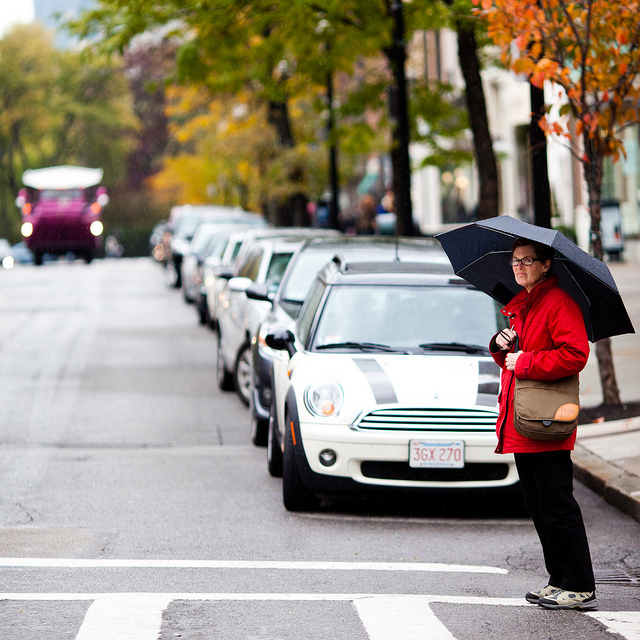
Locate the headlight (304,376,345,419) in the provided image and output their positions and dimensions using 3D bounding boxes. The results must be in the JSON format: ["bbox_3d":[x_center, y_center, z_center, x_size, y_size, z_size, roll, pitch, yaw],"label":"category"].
[{"bbox_3d":[0.022,0.495,7.491,0.247,0.235,0.214,0,3,-3],"label":"headlight"}]

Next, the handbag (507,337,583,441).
[{"bbox_3d":[1.095,0.368,5.668,0.304,0.539,0.285,3,-26,11],"label":"handbag"}]

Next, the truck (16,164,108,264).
[{"bbox_3d":[-7.955,-3.010,37.542,2.908,3.571,5.621,-2,-5,-6],"label":"truck"}]

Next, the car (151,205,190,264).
[{"bbox_3d":[-4.709,-2.666,37.368,1.529,1.652,2.951,1,4,-7],"label":"car"}]

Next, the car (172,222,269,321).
[{"bbox_3d":[-1.994,-0.650,22.440,0.758,0.963,1.783,-4,-12,-22],"label":"car"}]

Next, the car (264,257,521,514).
[{"bbox_3d":[0.417,0.348,7.732,1.067,1.064,2.050,0,-2,-5],"label":"car"}]

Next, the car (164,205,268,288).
[{"bbox_3d":[-2.778,-1.955,29.286,1.616,1.798,3.150,1,0,-15],"label":"car"}]

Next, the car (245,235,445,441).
[{"bbox_3d":[0.029,-0.035,9.994,1.151,1.214,2.083,1,-1,-9],"label":"car"}]

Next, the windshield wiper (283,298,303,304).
[{"bbox_3d":[-0.249,-0.167,10.557,0.171,0.036,0.071,0,4,5],"label":"windshield wiper"}]

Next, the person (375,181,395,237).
[{"bbox_3d":[2.308,-3.674,42.150,0.663,2.572,0.721,2,-15,4],"label":"person"}]

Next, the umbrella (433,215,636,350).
[{"bbox_3d":[1.104,-0.209,6.057,0.783,0.631,0.931,-2,4,-27],"label":"umbrella"}]

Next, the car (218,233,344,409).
[{"bbox_3d":[-0.556,-0.094,12.389,0.950,0.998,2.060,1,5,-8],"label":"car"}]
